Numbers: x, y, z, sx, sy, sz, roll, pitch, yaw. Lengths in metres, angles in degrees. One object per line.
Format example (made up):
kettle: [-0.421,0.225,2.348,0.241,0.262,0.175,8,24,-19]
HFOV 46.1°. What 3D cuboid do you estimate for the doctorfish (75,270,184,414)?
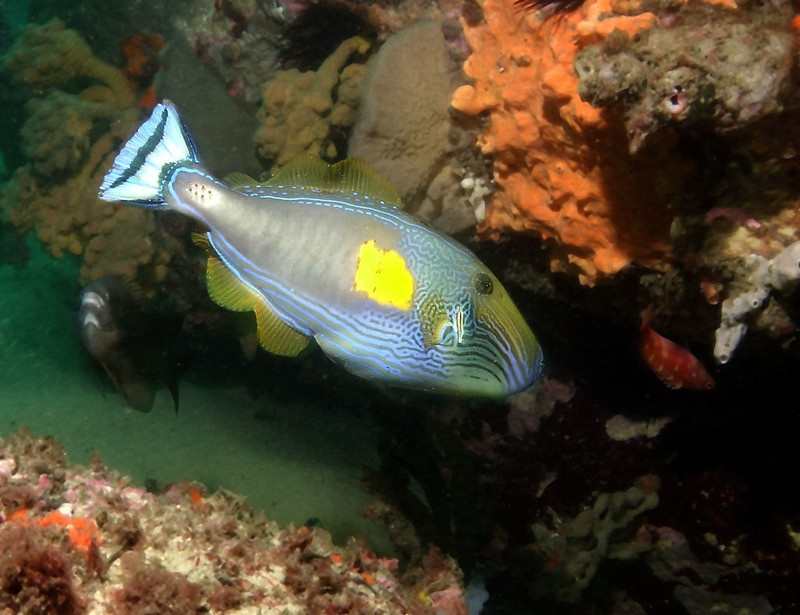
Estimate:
doctorfish: [-1.834,0.250,6.696,0.577,1.047,0.499,-8,22,21]

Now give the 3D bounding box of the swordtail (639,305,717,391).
swordtail: [1.755,0.363,6.114,0.240,0.295,0.765,-17,41,-33]

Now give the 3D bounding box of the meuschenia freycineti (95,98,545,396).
meuschenia freycineti: [-0.383,-0.225,5.527,2.667,0.741,0.921,24,59,3]
